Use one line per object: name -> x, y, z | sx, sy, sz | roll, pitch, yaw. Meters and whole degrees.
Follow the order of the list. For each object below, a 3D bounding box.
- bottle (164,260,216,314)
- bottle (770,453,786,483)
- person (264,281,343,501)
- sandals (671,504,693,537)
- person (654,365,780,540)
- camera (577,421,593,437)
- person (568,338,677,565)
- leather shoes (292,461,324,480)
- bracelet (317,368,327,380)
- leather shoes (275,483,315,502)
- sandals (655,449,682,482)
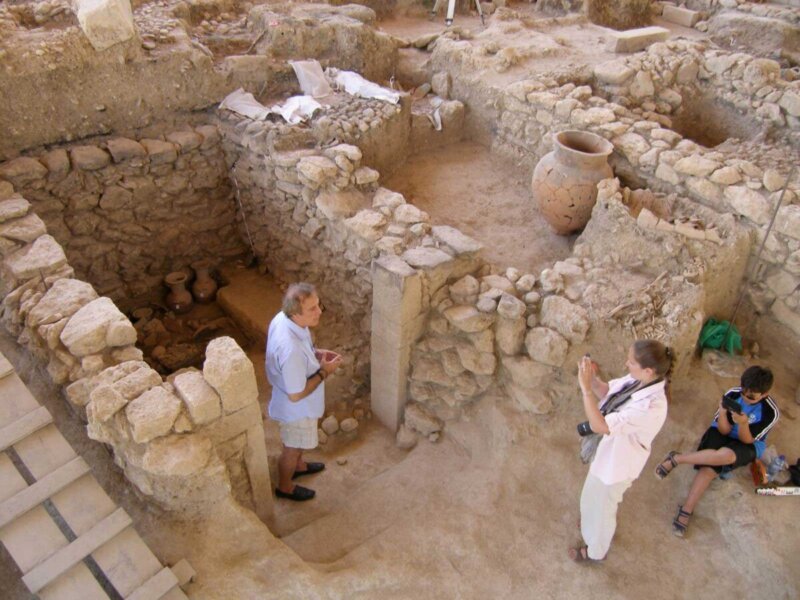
bottle -> -2.323, -0.133, 6.762 | 0.417, 0.358, 0.229 | -24, 46, -33
bottle -> 2.697, 1.195, 4.416 | 0.091, 0.044, 0.188 | 6, 81, -1
person -> -0.747, 0.788, 4.835 | 0.514, 1.628, 0.675 | -4, 52, -12
sandals -> 1.955, 1.531, 4.292 | 0.083, 0.095, 0.267 | 4, 57, 23
person -> 2.168, 0.958, 4.253 | 1.100, 0.763, 0.475 | -34, 46, -24
camera -> 1.339, 0.948, 4.507 | 0.122, 0.126, 0.076 | 11, 61, 22
person -> 1.353, 0.922, 4.084 | 0.550, 1.509, 0.764 | 23, 41, 25
leather shoes -> -0.739, 1.364, 5.009 | 0.251, 0.099, 0.092 | -20, 44, -26
bracelet -> -0.568, 0.528, 4.471 | 0.051, 0.026, 0.070 | -8, 53, -11
leather shoes -> -0.810, 1.503, 4.828 | 0.300, 0.119, 0.126 | 3, 38, -1
sandals -> 1.944, 1.208, 4.514 | 0.099, 0.233, 0.076 | 36, 11, -1
